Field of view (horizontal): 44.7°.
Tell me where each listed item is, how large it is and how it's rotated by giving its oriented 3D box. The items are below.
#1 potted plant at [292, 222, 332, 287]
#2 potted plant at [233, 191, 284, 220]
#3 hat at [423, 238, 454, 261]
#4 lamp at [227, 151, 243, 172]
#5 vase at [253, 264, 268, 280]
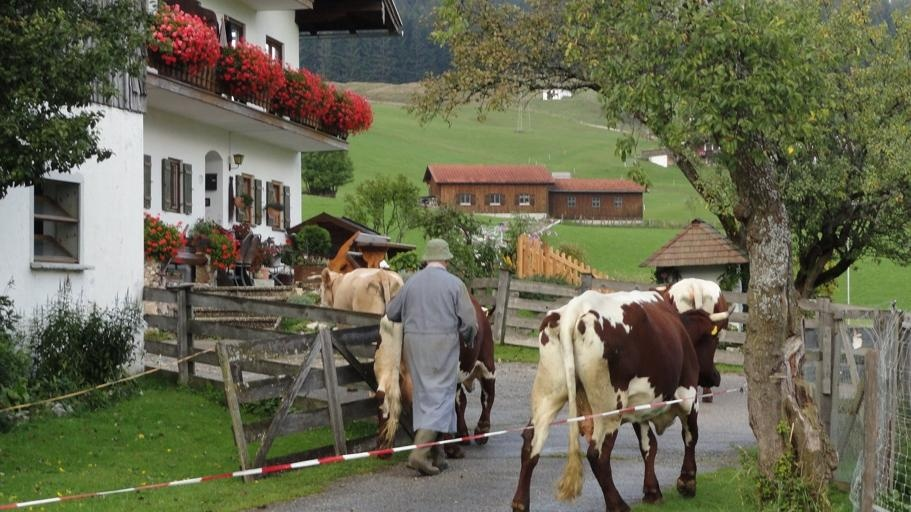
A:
[{"bbox_3d":[-5.179,-0.103,39.744,1.499,2.572,1.389,4,22,13],"label":"potted plant"},{"bbox_3d":[-6.708,-1.596,38.108,0.765,0.900,3.133,1,-2,15],"label":"potted plant"},{"bbox_3d":[-0.365,-0.130,24.245,0.506,0.307,0.477,-9,13,-42],"label":"hat"},{"bbox_3d":[-7.268,-3.168,36.913,0.586,0.813,0.387,-3,-2,24],"label":"lamp"},{"bbox_3d":[-6.560,0.568,37.186,0.380,0.328,0.403,-1,3,-16],"label":"vase"}]
